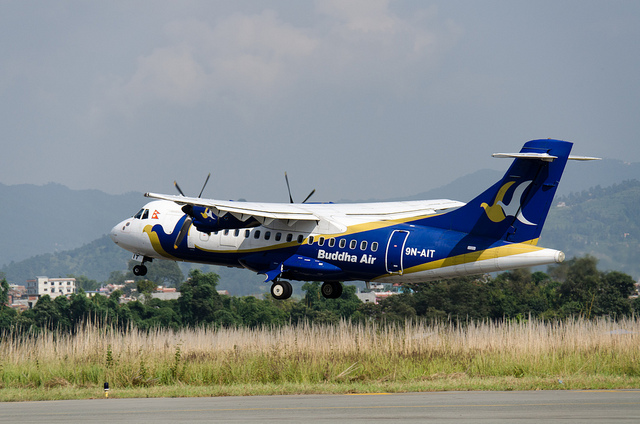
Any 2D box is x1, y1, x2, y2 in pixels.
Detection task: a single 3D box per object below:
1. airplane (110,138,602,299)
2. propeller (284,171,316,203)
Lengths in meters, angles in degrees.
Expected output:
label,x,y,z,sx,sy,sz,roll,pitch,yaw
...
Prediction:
label,x,y,z,sx,sy,sz,roll,pitch,yaw
airplane,-0.336,0.263,67.776,32.209,10.541,31.970,4,-2,28
propeller,-0.751,-0.629,32.840,0.123,1.953,0.299,-18,19,-5
